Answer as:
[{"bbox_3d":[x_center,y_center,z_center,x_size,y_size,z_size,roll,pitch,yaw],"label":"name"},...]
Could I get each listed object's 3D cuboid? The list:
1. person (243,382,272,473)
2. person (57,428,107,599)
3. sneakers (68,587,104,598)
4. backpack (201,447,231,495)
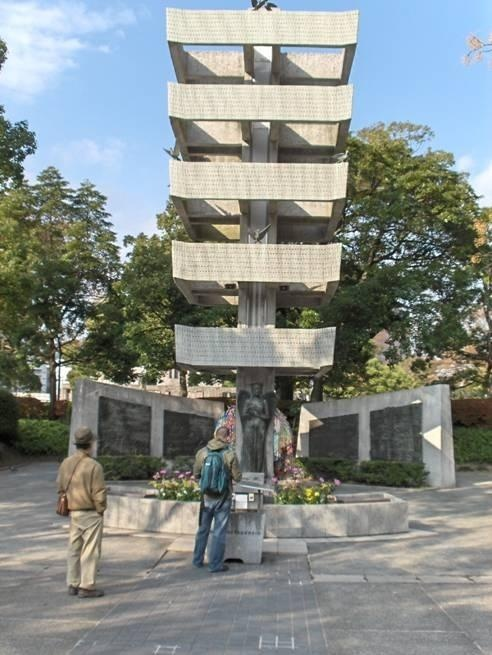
[{"bbox_3d":[0.236,2.553,20.025,0.949,2.278,1.264,3,-8,0],"label":"person"},{"bbox_3d":[-1.719,1.929,8.251,0.591,1.708,0.324,-3,-10,37],"label":"person"},{"bbox_3d":[-1.653,2.726,8.056,0.376,0.149,0.132,1,-19,-3],"label":"sneakers"},{"bbox_3d":[-0.355,1.757,9.542,0.409,0.545,0.325,1,2,25],"label":"backpack"}]
